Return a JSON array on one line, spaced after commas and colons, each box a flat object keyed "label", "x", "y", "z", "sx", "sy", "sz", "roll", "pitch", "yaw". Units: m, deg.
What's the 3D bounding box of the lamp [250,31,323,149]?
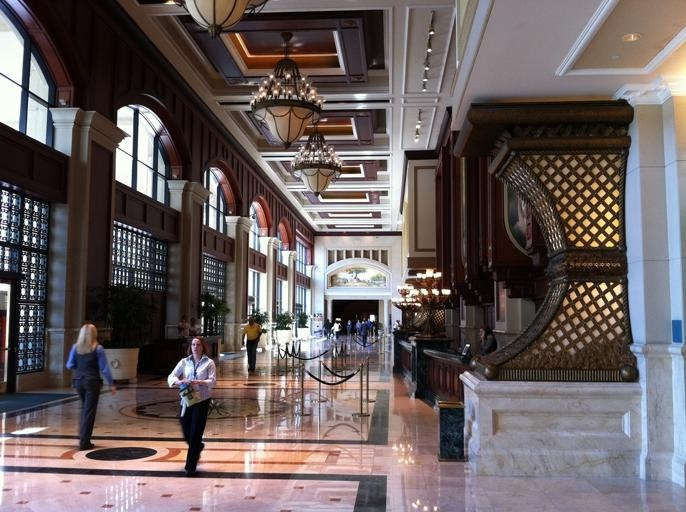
[{"label": "lamp", "x": -1.496, "y": -4.682, "z": 13.609, "sx": 1.721, "sy": 3.765, "sz": 1.855, "roll": 2, "pitch": -9, "yaw": -11}]

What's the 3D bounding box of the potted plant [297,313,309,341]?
[{"label": "potted plant", "x": -3.011, "y": 5.192, "z": 38.068, "sx": 0.738, "sy": 1.960, "sz": 1.877, "roll": 1, "pitch": -9, "yaw": -6}]

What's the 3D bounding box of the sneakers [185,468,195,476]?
[{"label": "sneakers", "x": -1.904, "y": 2.683, "z": 6.416, "sx": 0.129, "sy": 0.076, "sz": 0.132, "roll": 1, "pitch": -9, "yaw": -11}]

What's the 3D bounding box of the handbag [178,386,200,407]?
[{"label": "handbag", "x": -1.977, "y": 1.779, "z": 6.547, "sx": 0.303, "sy": 0.285, "sz": 0.192, "roll": -9, "pitch": -13, "yaw": 44}]

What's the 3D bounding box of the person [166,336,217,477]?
[{"label": "person", "x": -1.952, "y": 1.894, "z": 6.623, "sx": 0.569, "sy": 1.667, "sz": 0.438, "roll": 2, "pitch": -9, "yaw": -11}]

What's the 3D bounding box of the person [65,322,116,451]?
[{"label": "person", "x": -3.698, "y": 1.883, "z": 7.504, "sx": 0.605, "sy": 1.786, "sz": 1.440, "roll": 5, "pitch": -10, "yaw": -28}]
